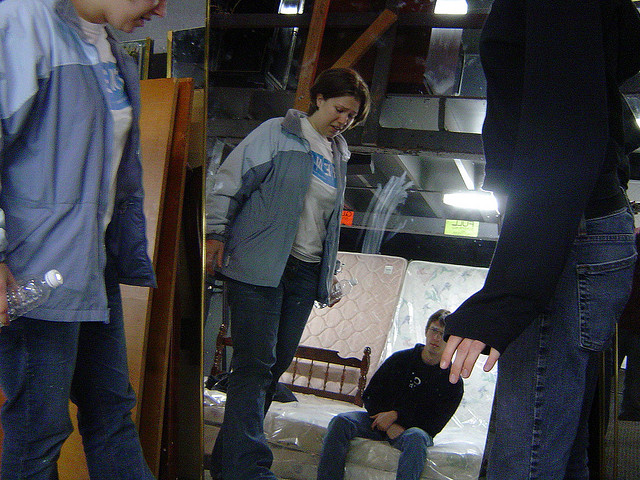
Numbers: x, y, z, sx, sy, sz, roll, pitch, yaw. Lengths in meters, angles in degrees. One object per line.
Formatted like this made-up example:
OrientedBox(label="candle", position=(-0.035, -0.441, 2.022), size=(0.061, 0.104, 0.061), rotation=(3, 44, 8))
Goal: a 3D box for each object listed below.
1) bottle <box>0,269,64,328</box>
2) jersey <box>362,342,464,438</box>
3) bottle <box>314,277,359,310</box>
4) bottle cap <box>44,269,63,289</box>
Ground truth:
OrientedBox(label="bottle", position=(-0.522, 0.106, 0.897), size=(0.081, 0.101, 0.092), rotation=(10, 1, -32))
OrientedBox(label="jersey", position=(0.223, 0.352, 1.191), size=(0.229, 0.225, 0.077), rotation=(11, 1, 7))
OrientedBox(label="bottle", position=(0.046, 0.142, 1.374), size=(0.102, 0.031, 0.073), rotation=(-28, 3, 6))
OrientedBox(label="bottle cap", position=(-0.478, 0.070, 0.891), size=(0.031, 0.031, 0.023), rotation=(27, 32, 36))
